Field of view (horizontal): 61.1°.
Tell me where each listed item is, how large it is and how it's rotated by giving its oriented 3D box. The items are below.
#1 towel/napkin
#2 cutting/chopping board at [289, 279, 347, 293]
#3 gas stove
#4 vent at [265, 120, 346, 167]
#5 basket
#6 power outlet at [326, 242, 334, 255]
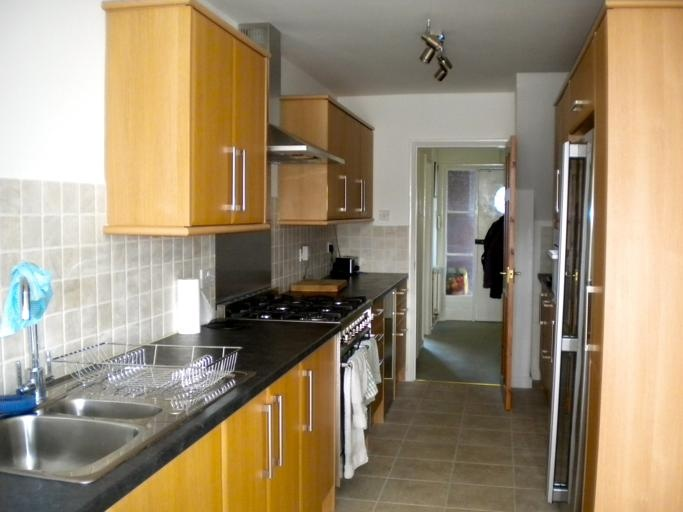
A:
[{"bbox_3d":[0.120,0.935,3.530,0.191,0.759,0.755,0,11,11],"label":"towel/napkin"},{"bbox_3d":[-0.157,0.228,4.576,0.400,0.059,0.527,1,7,13],"label":"cutting/chopping board"},{"bbox_3d":[-0.249,0.301,3.700,0.777,0.087,0.915,1,7,12],"label":"gas stove"},{"bbox_3d":[-0.243,-0.692,3.577,0.430,0.183,0.716,-1,6,-3],"label":"vent"},{"bbox_3d":[-0.812,0.466,2.365,0.404,0.074,0.289,4,3,17],"label":"basket"},{"bbox_3d":[-0.102,-0.068,5.483,0.028,0.089,0.127,0,-1,16],"label":"power outlet"}]
